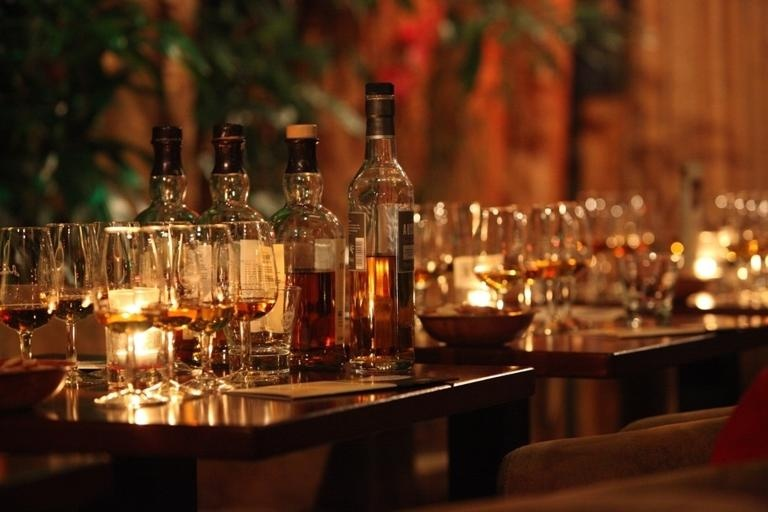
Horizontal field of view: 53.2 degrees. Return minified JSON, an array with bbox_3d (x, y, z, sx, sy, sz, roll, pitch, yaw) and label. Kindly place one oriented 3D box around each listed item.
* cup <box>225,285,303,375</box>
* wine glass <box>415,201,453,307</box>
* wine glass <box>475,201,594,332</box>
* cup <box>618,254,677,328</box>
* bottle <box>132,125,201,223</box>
[{"bbox_3d":[-0.217,0.131,1.365,0.145,0.145,0.151,0,-4,0],"label":"cup"},{"bbox_3d":[0.150,-0.006,2.285,0.115,0.305,0.310,-3,-1,5],"label":"wine glass"},{"bbox_3d":[0.426,0.009,2.111,0.359,0.368,0.357,-2,1,6],"label":"wine glass"},{"bbox_3d":[0.708,0.085,2.060,0.184,0.197,0.174,-2,-1,0],"label":"cup"},{"bbox_3d":[-0.401,-0.149,1.406,0.108,0.159,0.112,-3,-1,0],"label":"bottle"}]
